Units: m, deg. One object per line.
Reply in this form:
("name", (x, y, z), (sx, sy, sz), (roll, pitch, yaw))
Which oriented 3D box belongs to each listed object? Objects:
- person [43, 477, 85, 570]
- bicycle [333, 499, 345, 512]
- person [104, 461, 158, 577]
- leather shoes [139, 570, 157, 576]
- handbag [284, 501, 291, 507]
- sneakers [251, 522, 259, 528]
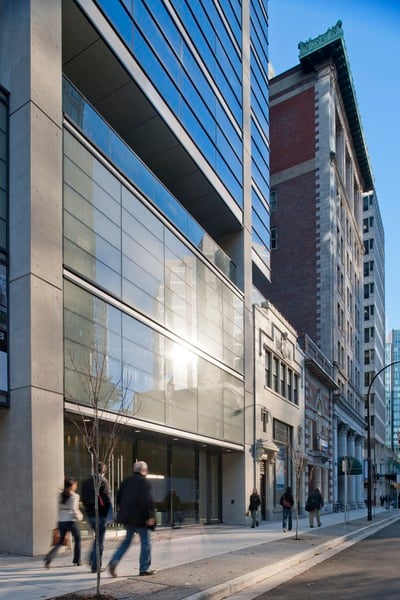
("person", (-2.279, 3.752, 13.864), (0.572, 1.467, 1.018), (2, -16, -10))
("bicycle", (7.168, 10.687, 42.260), (0.578, 0.571, 1.133), (1, -17, 5))
("person", (-1.048, 3.499, 13.146), (0.713, 1.770, 0.680), (-2, -15, 5))
("leather shoes", (-0.837, 4.434, 13.272), (0.247, 0.152, 0.109), (4, -18, -21))
("handbag", (2.576, 5.937, 23.890), (0.082, 0.235, 0.171), (-22, -16, -19))
("sneakers", (1.768, 7.240, 26.328), (0.114, 0.236, 0.464), (-2, -11, 11))
